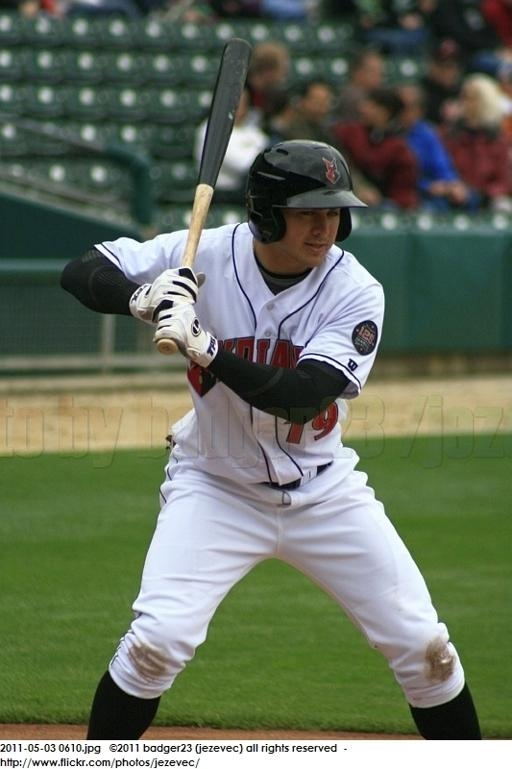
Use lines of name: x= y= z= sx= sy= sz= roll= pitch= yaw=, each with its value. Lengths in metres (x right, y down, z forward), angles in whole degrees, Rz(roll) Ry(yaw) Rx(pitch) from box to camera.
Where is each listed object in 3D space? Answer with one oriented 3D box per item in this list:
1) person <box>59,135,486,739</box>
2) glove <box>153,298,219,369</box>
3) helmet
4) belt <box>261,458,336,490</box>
person: x=0.024 y=0.115 z=2.360 sx=0.875 sy=1.383 sz=0.686 roll=0 pitch=10 yaw=-16
glove: x=-0.179 y=-0.102 z=2.085 sx=0.104 sy=0.066 sz=0.156 roll=10 pitch=34 yaw=-52
helmet: x=0.106 y=-0.447 z=2.308 sx=0.246 sy=0.248 sz=0.221 roll=2 pitch=9 yaw=-4
belt: x=0.099 y=0.223 z=2.362 sx=0.107 sy=0.023 sz=0.070 roll=-18 pitch=46 yaw=-28
